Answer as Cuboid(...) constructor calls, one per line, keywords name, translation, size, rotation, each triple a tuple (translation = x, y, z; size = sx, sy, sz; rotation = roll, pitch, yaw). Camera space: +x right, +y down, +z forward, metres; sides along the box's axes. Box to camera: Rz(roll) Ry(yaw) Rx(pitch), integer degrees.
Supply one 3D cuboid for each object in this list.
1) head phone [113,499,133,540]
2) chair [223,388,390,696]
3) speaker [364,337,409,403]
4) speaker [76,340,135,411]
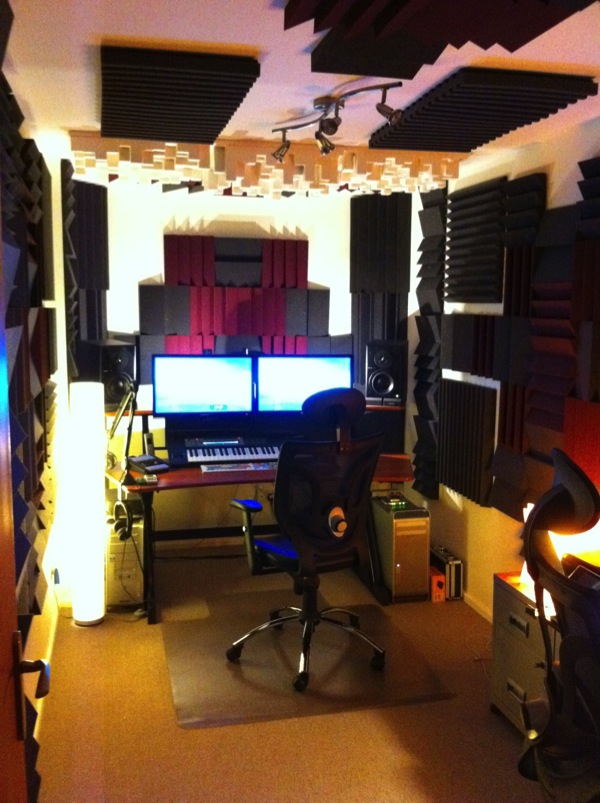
Cuboid(name="head phone", translation=(-0.975, 0.655, 3.692), size=(0.051, 0.189, 0.141), rotation=(-4, -2, -28))
Cuboid(name="chair", translation=(0.034, 0.586, 3.207), size=(0.682, 1.349, 0.701), rotation=(-4, 9, -29))
Cuboid(name="speaker", translation=(0.551, -0.173, 4.366), size=(0.240, 0.504, 0.263), rotation=(3, 35, 6))
Cuboid(name="speaker", translation=(-1.126, -0.122, 3.879), size=(0.332, 0.392, 0.240), rotation=(-1, 6, -18))
